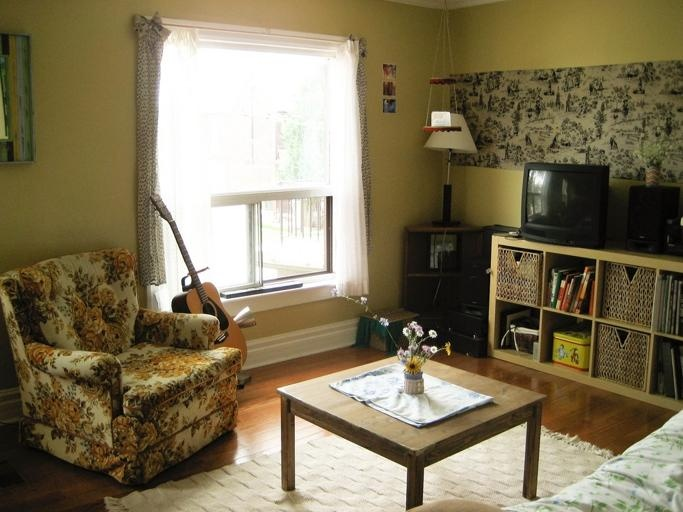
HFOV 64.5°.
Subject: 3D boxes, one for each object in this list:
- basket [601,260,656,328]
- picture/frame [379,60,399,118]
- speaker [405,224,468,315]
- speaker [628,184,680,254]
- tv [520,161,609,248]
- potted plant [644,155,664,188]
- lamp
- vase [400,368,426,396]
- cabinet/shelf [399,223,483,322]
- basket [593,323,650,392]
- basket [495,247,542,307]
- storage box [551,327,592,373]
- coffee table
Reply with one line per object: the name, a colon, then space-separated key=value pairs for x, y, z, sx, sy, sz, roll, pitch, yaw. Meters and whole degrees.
basket: x=2.110 y=0.280 z=4.101 sx=0.339 sy=0.455 sz=0.251 roll=12 pitch=-11 yaw=3
picture/frame: x=0.447 y=-1.577 z=5.042 sx=0.008 sy=0.451 sz=0.196 roll=-20 pitch=28 yaw=-35
speaker: x=0.941 y=0.100 z=5.205 sx=0.539 sy=0.261 sz=0.858 roll=12 pitch=-24 yaw=12
speaker: x=2.310 y=-0.272 z=3.929 sx=0.373 sy=0.473 sz=0.263 roll=0 pitch=13 yaw=-1
tv: x=1.837 y=-0.460 z=4.403 sx=0.397 sy=0.627 sz=0.641 roll=-17 pitch=23 yaw=-41
potted plant: x=2.296 y=-0.637 z=4.007 sx=0.102 sy=0.207 sz=0.180 roll=7 pitch=15 yaw=27
lamp: x=0.975 y=-0.796 z=4.935 sx=0.496 sy=1.087 sz=1.288 roll=3 pitch=13 yaw=13
vase: x=0.378 y=0.664 z=2.875 sx=0.112 sy=0.107 sz=0.127 roll=-3 pitch=10 yaw=-18
cabinet/shelf: x=1.038 y=0.148 z=5.200 sx=0.764 sy=0.873 sz=0.553 roll=2 pitch=9 yaw=11
basket: x=2.097 y=0.729 z=4.128 sx=0.408 sy=0.551 sz=0.394 roll=-5 pitch=10 yaw=-37
basket: x=1.413 y=0.174 z=4.672 sx=0.462 sy=0.424 sz=0.351 roll=11 pitch=-9 yaw=-30
storage box: x=1.811 y=0.816 z=4.498 sx=0.349 sy=0.255 sz=0.338 roll=19 pitch=-18 yaw=-22
coffee table: x=0.436 y=0.794 z=2.758 sx=0.898 sy=0.536 sz=0.835 roll=-5 pitch=8 yaw=-42
